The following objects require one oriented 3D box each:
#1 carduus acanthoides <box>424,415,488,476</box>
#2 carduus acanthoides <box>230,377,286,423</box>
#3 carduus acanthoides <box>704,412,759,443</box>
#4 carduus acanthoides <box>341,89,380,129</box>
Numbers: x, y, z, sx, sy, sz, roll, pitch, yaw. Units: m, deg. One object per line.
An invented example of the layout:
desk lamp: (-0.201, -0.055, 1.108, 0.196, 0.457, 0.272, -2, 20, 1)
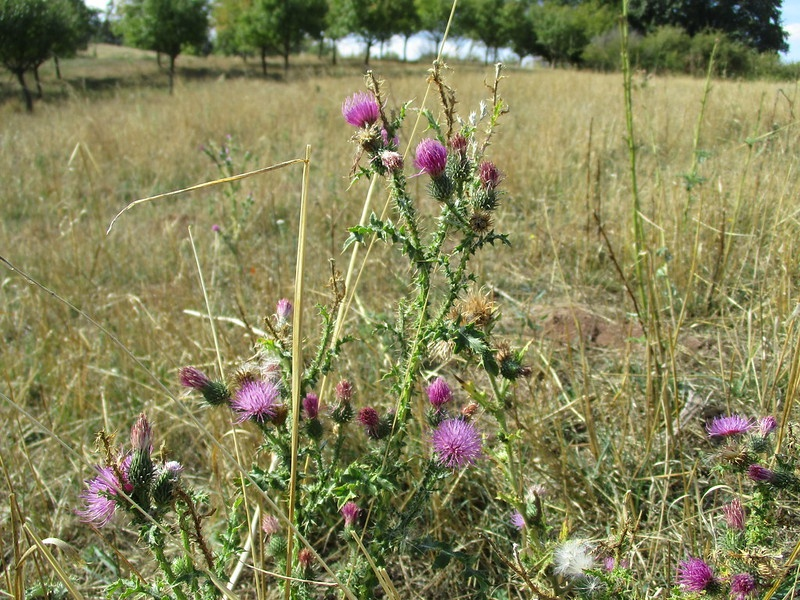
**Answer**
carduus acanthoides: (0.271, 0.677, 4.144, 0.204, 0.255, 0.236, -1, 38, 33)
carduus acanthoides: (-0.661, 0.462, 4.012, 0.169, 0.158, 0.185, 15, 25, 29)
carduus acanthoides: (1.663, 0.645, 4.319, 0.168, 0.101, 0.177, -12, 2, 40)
carduus acanthoides: (-0.188, -0.907, 4.114, 0.132, 0.174, 0.177, -2, 37, -1)
